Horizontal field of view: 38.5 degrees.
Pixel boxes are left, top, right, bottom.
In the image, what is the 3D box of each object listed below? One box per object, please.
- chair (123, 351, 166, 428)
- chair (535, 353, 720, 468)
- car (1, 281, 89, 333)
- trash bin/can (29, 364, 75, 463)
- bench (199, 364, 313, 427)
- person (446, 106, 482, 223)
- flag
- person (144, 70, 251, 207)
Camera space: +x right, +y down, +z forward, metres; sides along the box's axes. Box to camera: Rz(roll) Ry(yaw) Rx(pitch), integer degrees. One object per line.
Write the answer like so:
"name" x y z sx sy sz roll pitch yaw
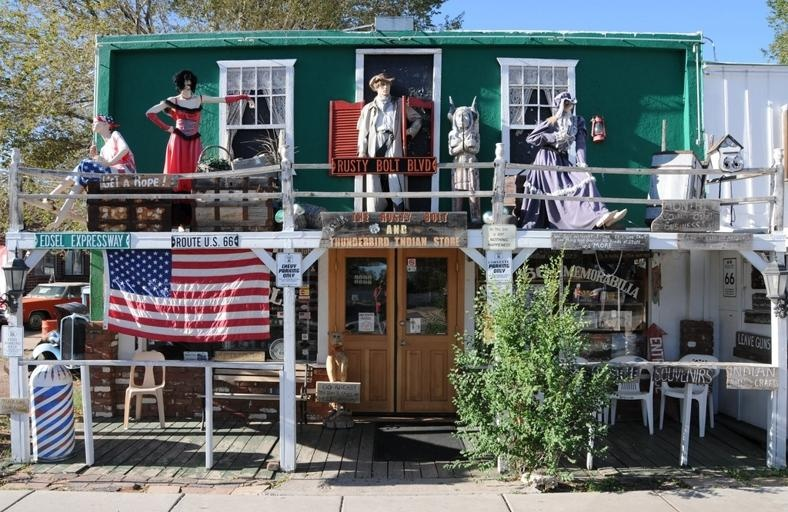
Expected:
"chair" -5.033 2.658 22.732 0.876 1.492 0.850 -2 5 -14
"chair" 5.184 2.886 21.938 2.087 1.975 2.794 0 5 14
"car" -9.720 1.590 32.925 1.690 1.269 3.045 -2 -4 37
"trash bin/can" -6.438 2.947 21.239 0.775 1.792 0.363 -3 5 -20
"bench" -2.807 2.765 22.725 2.330 1.216 0.708 -1 4 2
"person" 1.373 -1.884 22.547 0.712 2.235 0.795 1 0 4
"flag" -3.937 0.740 21.575 3.083 1.742 0.325 -1 4 3
"person" -4.078 -2.654 22.267 1.543 1.983 0.504 -2 4 -13
